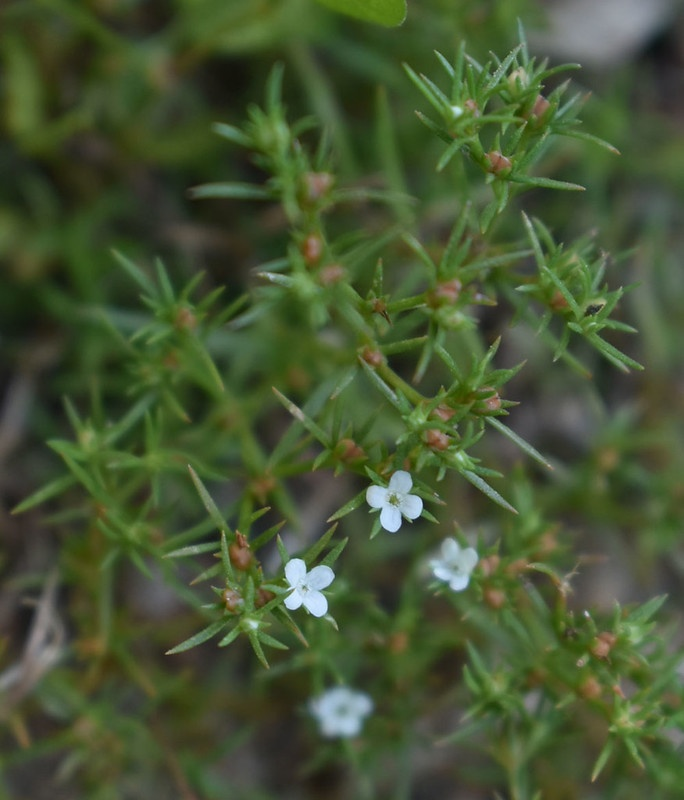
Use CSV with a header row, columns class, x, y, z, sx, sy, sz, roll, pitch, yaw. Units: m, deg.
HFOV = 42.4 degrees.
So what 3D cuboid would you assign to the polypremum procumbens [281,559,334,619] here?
class,x,y,z,sx,sy,sz,roll,pitch,yaw
polypremum procumbens,-0.100,0.519,2.451,0.132,0.131,0.149,7,77,1
